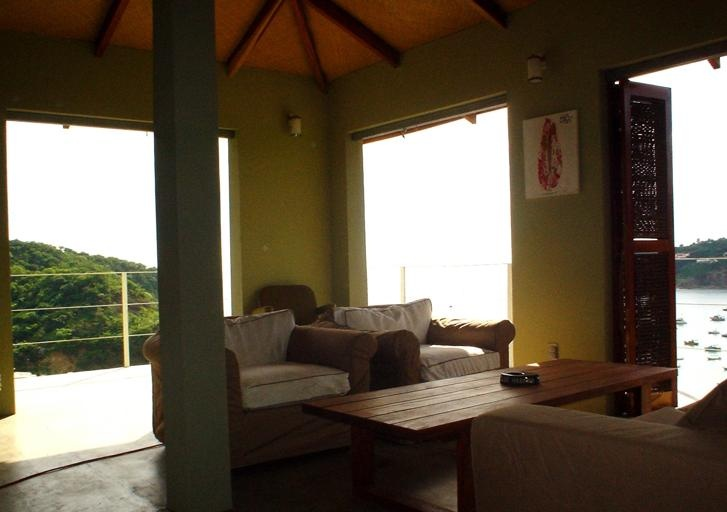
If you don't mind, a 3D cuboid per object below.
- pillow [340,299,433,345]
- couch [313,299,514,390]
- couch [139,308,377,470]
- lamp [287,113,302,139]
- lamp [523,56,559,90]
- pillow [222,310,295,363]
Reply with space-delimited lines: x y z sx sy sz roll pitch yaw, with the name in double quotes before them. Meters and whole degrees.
"pillow" 0.188 0.518 4.660 0.490 0.471 0.148 -5 -14 -37
"couch" 0.405 0.781 4.595 1.017 0.753 1.409 -4 -3 44
"couch" -0.782 0.911 4.059 1.390 0.930 1.113 3 -5 -41
"lamp" -0.798 -1.528 6.587 0.167 0.264 0.236 -3 3 -5
"lamp" 1.489 -1.613 4.866 0.140 0.257 0.284 -6 4 -43
"pillow" -0.791 0.609 4.234 0.410 0.387 0.159 -7 13 -32
